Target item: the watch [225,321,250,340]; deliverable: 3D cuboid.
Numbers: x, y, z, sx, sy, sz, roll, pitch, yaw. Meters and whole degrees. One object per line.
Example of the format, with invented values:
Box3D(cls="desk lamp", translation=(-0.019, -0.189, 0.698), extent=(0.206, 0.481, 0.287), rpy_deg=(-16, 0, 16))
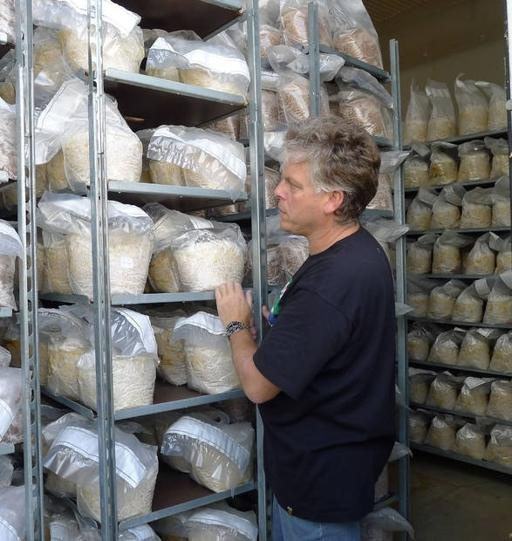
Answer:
Box3D(cls="watch", translation=(-0.049, 0.156, 1.494), extent=(0.053, 0.027, 0.059), rpy_deg=(-3, -6, 1))
